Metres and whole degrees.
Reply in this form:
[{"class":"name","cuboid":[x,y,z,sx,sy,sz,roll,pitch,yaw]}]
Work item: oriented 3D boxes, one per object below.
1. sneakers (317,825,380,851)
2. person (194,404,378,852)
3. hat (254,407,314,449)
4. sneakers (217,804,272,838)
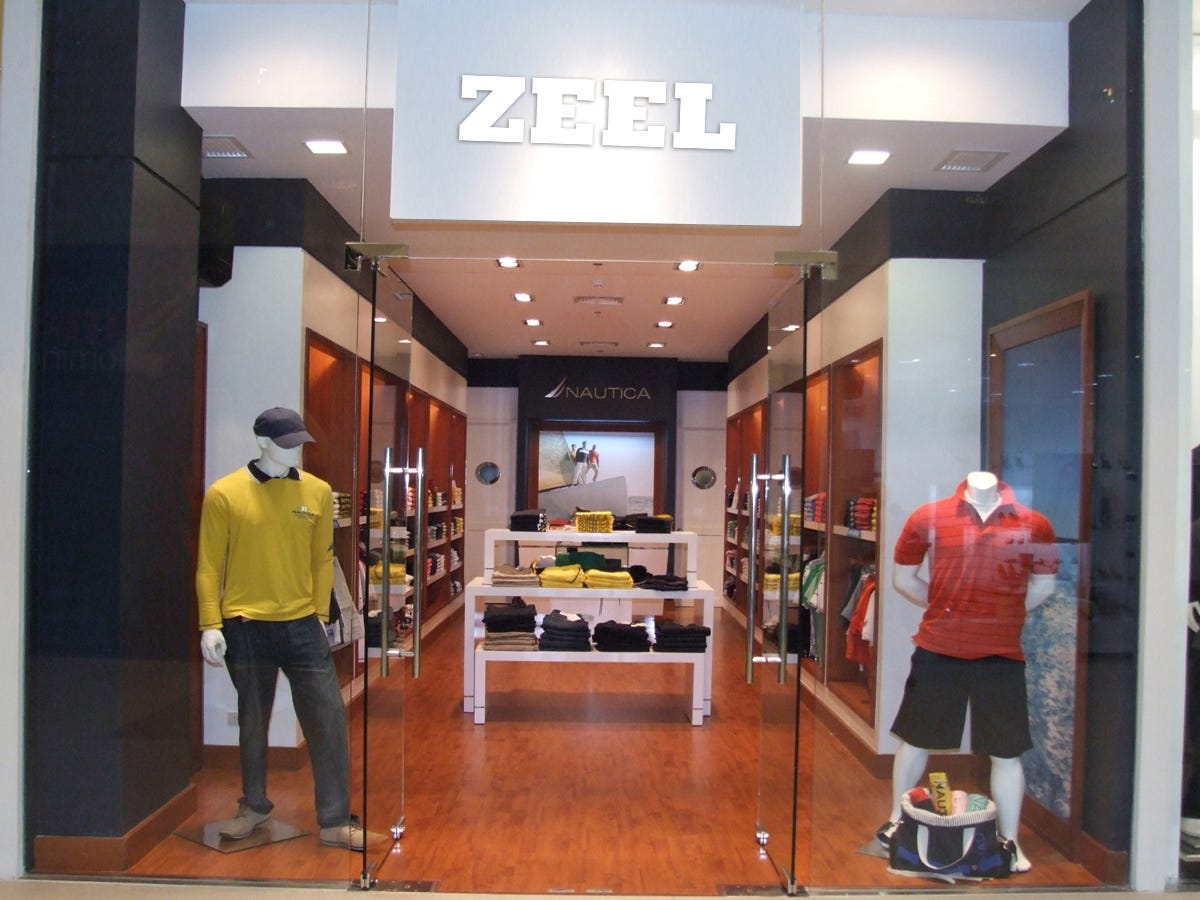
[{"class":"sneakers","cuboid":[-1.073,1.637,4.339,0.225,0.116,0.094,2,-6,-6]},{"class":"person","cuboid":[-1.353,0.762,4.350,0.681,1.843,0.261,0,2,-13]},{"class":"hat","cuboid":[-1.370,-0.101,4.428,0.207,0.128,0.163,2,1,20]},{"class":"sneakers","cuboid":[-1.507,1.584,4.341,0.200,0.103,0.104,1,-3,-41]}]
